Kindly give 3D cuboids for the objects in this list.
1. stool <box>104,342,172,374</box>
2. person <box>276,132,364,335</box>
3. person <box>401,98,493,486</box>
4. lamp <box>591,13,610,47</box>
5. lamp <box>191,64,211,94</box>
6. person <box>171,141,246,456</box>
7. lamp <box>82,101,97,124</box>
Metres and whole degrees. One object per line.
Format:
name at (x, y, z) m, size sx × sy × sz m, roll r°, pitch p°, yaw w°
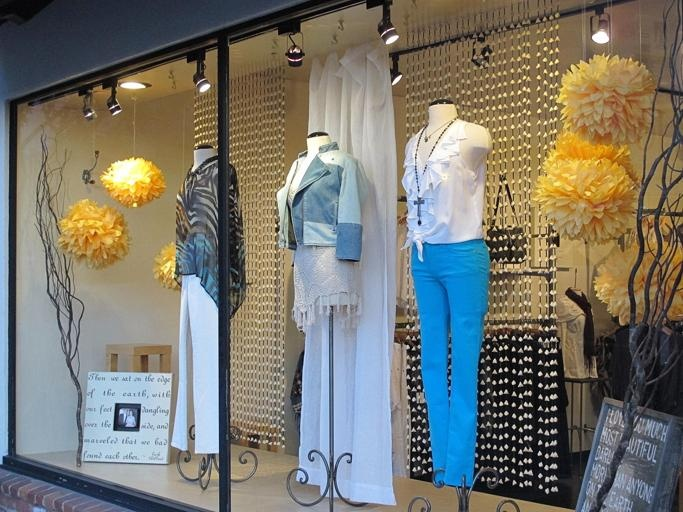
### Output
stool at (-1.501, 0.735, 6.899) m, size 0.278 × 0.340 × 0.281 m, roll -5°, pitch -9°, yaw 41°
person at (-0.132, -0.173, 5.441) m, size 0.535 × 1.160 × 0.294 m, roll -1°, pitch -6°, yaw 12°
person at (0.585, 0.177, 5.083) m, size 0.242 × 2.110 × 0.496 m, roll 6°, pitch -8°, yaw -44°
lamp at (1.365, -1.223, 4.969) m, size 0.063 × 0.223 × 0.193 m, roll 0°, pitch -7°, yaw -1°
lamp at (-0.860, -1.108, 5.740) m, size 0.074 × 0.192 × 0.173 m, roll 3°, pitch -7°, yaw -23°
person at (-0.898, 0.257, 5.863) m, size 0.193 × 1.956 × 0.552 m, roll 4°, pitch -7°, yaw -35°
lamp at (-1.767, -1.018, 6.524) m, size 0.091 × 0.120 × 0.184 m, roll -11°, pitch -19°, yaw -11°
